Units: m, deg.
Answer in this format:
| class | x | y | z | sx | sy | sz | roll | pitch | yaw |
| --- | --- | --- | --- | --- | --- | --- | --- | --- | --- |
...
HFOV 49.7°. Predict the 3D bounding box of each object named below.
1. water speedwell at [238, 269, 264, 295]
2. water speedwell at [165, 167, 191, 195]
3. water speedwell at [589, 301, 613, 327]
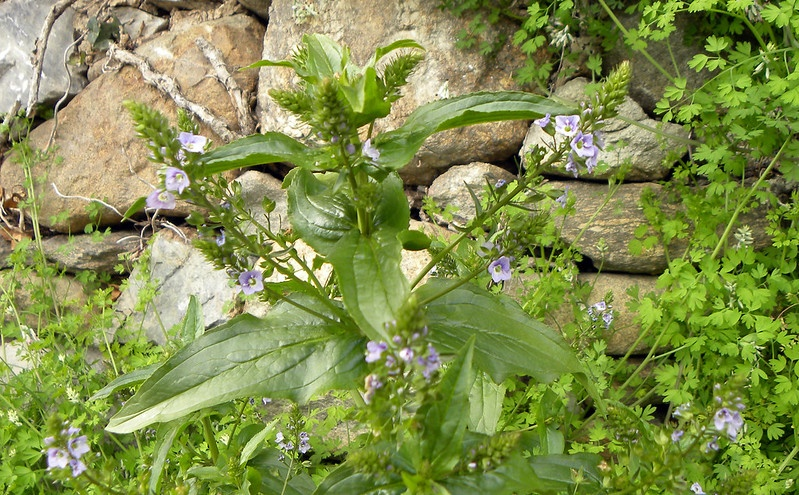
| class | x | y | z | sx | sy | sz | roll | pitch | yaw |
| --- | --- | --- | --- | --- | --- | --- | --- | --- | --- |
| water speedwell | -0.951 | 0.225 | 5.545 | 0.163 | 0.126 | 0.128 | -23 | 48 | -3 |
| water speedwell | -1.396 | -0.419 | 5.415 | 0.142 | 0.120 | 0.116 | -4 | 49 | 13 |
| water speedwell | 1.652 | 0.545 | 6.983 | 0.167 | 0.207 | 0.063 | -55 | 18 | -5 |
